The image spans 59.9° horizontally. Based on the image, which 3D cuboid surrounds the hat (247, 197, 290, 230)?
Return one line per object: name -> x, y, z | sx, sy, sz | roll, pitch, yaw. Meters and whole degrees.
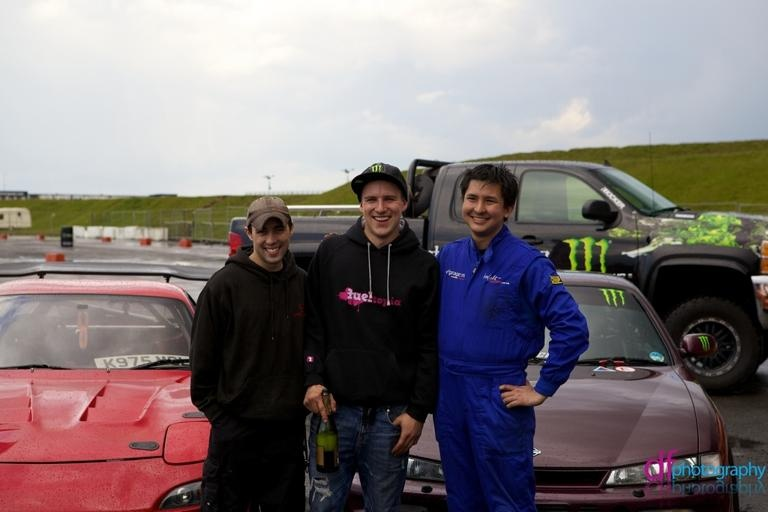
hat -> -0.780, -0.288, 4.467 | 0.194, 0.146, 0.276 | -1, -4, -13
